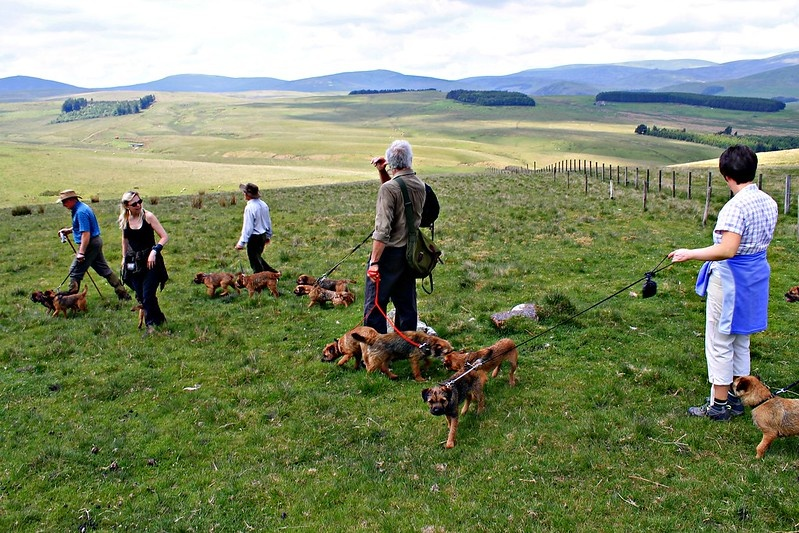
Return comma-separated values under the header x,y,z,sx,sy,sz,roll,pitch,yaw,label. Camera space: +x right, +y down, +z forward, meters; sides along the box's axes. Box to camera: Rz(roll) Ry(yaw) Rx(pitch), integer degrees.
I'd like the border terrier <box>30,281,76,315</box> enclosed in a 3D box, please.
x,y,z,sx,sy,sz,roll,pitch,yaw,label
-8.789,0.852,15.965,1.171,0.591,0.649,1,15,9,border terrier

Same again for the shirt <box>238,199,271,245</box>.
x,y,z,sx,sy,sz,roll,pitch,yaw,label
-3.920,-1.200,16.936,0.601,1.245,1.406,2,9,19,shirt

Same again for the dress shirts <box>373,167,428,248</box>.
x,y,z,sx,sy,sz,roll,pitch,yaw,label
-0.032,-1.089,12.087,0.478,1.392,1.198,13,21,42,dress shirts

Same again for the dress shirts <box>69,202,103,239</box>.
x,y,z,sx,sy,sz,roll,pitch,yaw,label
-8.126,-1.192,16.188,0.665,0.980,1.077,-11,18,-27,dress shirts
